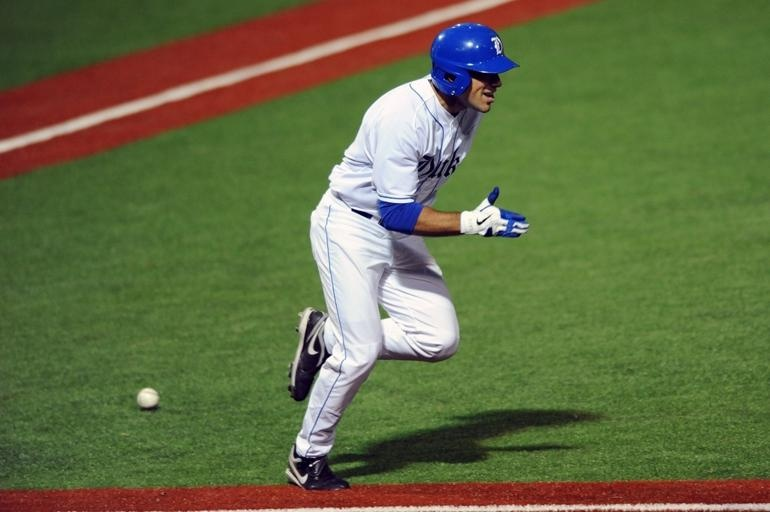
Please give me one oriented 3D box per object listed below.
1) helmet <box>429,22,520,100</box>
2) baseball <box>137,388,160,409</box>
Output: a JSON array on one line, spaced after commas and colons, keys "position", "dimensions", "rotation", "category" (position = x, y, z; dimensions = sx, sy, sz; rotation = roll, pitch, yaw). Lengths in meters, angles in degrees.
[{"position": [0.599, -1.506, 8.633], "dimensions": [0.640, 0.455, 0.487], "rotation": [23, 22, 16], "category": "helmet"}, {"position": [-1.985, 1.195, 9.597], "dimensions": [0.171, 0.161, 0.170], "rotation": [2, 11, 41], "category": "baseball"}]
